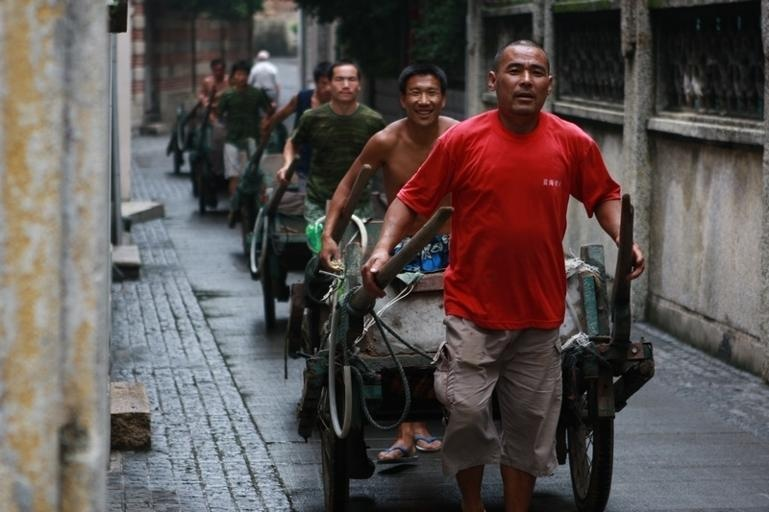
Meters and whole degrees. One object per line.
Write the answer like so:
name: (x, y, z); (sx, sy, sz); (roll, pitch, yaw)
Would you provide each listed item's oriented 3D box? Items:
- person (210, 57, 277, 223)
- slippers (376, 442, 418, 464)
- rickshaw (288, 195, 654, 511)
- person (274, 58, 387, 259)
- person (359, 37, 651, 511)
person: (-1.487, -1.207, 15.064); (0.611, 1.557, 1.255); (2, 27, -2)
slippers: (0.088, 1.225, 8.928); (0.208, 0.079, 0.115); (5, -12, -17)
rickshaw: (0.456, 0.493, 8.521); (1.335, 1.192, 2.306); (1, 7, -6)
person: (-0.411, -0.750, 11.111); (0.593, 1.489, 0.605); (0, 2, -5)
person: (0.691, 0.043, 8.119); (1.113, 2.846, 1.221); (0, 3, 3)
